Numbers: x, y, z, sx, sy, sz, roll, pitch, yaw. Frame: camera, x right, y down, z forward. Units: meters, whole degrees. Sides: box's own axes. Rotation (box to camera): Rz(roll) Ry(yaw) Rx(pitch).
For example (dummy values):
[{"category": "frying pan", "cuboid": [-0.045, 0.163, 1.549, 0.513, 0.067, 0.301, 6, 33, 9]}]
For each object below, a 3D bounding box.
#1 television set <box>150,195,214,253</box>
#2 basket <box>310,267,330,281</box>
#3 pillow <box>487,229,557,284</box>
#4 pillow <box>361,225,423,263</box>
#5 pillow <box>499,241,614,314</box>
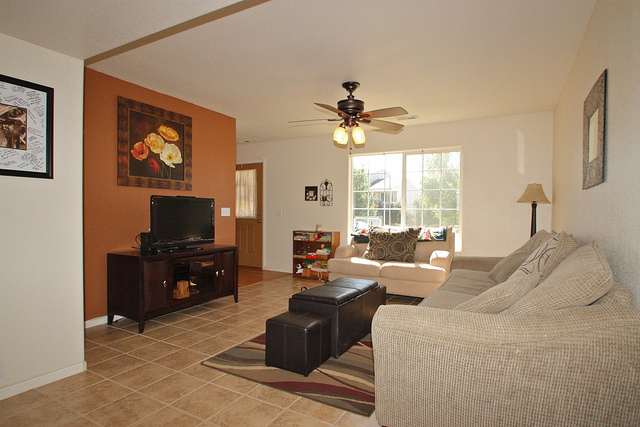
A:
[{"category": "television set", "cuboid": [-1.701, 0.124, 5.316, 0.241, 0.686, 0.945, 3, 3, 33]}, {"category": "basket", "cuboid": [-0.034, 1.048, 7.490, 0.308, 0.143, 0.206, -1, -3, 35]}, {"category": "pillow", "cuboid": [2.100, 0.488, 4.627, 0.179, 0.652, 0.608, 42, 16, 18]}, {"category": "pillow", "cuboid": [1.059, 0.453, 6.483, 0.850, 0.545, 0.295, 5, 7, 29]}, {"category": "pillow", "cuboid": [1.687, 0.435, 3.112, 0.615, 0.450, 0.847, 1, 0, 18]}]
